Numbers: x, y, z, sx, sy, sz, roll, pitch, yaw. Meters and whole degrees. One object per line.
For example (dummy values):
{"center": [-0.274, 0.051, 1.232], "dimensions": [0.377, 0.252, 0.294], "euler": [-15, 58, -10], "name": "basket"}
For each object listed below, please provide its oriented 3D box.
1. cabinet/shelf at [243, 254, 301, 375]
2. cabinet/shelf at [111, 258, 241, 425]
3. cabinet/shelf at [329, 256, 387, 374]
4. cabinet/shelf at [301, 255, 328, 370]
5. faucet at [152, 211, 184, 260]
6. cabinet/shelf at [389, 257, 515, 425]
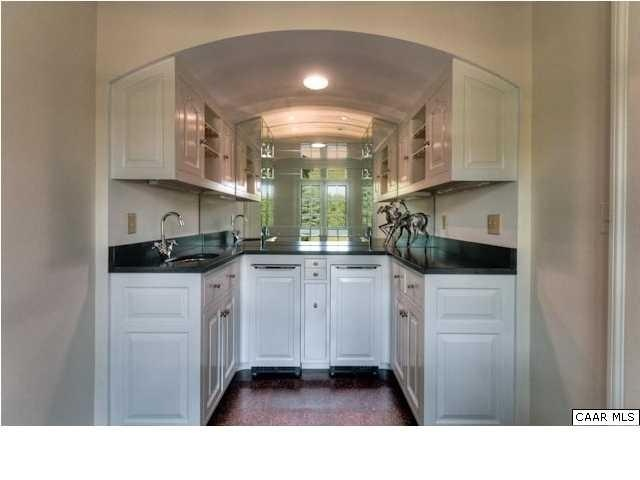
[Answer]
{"center": [-0.363, 0.585, 3.710], "dimensions": [0.428, 0.795, 0.209], "euler": [-1, 13, -3], "name": "cabinet/shelf"}
{"center": [-0.990, 0.656, 3.631], "dimensions": [0.521, 0.999, 1.451], "euler": [1, 4, 0], "name": "cabinet/shelf"}
{"center": [0.291, 0.577, 3.701], "dimensions": [0.434, 0.780, 0.193], "euler": [0, 13, 3], "name": "cabinet/shelf"}
{"center": [-0.044, 0.561, 3.716], "dimensions": [0.208, 0.825, 0.183], "euler": [0, 13, -1], "name": "cabinet/shelf"}
{"center": [-1.077, -0.042, 3.390], "dimensions": [0.214, 0.345, 0.613], "euler": [-4, 13, -17], "name": "faucet"}
{"center": [0.823, 0.623, 3.525], "dimensions": [0.802, 1.261, 1.377], "euler": [0, -3, 7], "name": "cabinet/shelf"}
